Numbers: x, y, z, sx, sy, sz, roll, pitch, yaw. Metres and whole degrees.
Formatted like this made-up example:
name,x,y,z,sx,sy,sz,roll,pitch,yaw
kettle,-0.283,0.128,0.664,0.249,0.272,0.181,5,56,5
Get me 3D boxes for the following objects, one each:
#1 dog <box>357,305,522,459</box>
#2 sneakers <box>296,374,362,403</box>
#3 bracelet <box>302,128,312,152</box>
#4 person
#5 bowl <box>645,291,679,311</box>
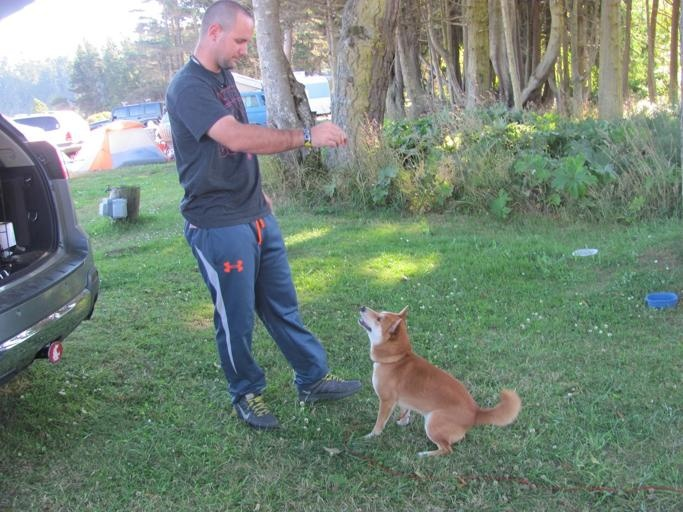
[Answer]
name,x,y,z,sx,sy,sz,roll,pitch,yaw
dog,0.601,0.823,3.884,1.030,0.921,0.370,-1,11,18
sneakers,-0.100,1.011,4.484,0.505,0.262,0.192,-10,8,-2
bracelet,-0.233,-0.822,4.020,0.055,0.123,0.132,-5,11,-2
person,-0.616,-0.256,4.059,0.954,2.926,0.484,-8,11,-19
bowl,2.985,0.404,5.388,0.332,0.113,0.215,-9,11,-16
